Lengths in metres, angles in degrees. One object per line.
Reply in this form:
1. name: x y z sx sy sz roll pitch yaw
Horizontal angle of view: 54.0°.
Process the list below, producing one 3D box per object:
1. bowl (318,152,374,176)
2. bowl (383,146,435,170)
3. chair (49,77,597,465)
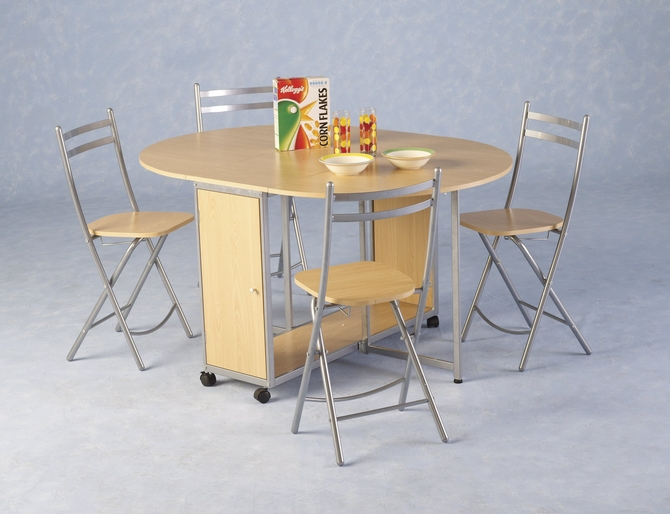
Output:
1. bowl: 0.056 -0.428 2.984 0.235 0.066 0.275 -1 22 0
2. bowl: 0.344 -0.463 3.065 0.231 0.077 0.262 0 22 3
3. chair: -0.019 -0.060 3.361 2.110 1.173 1.742 19 31 39
